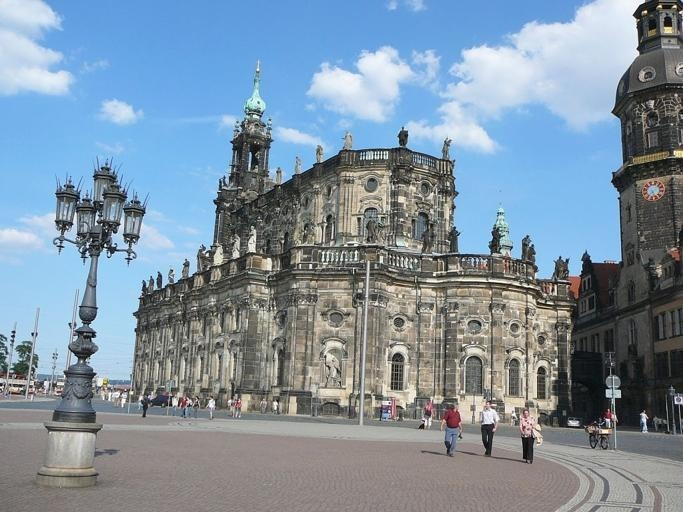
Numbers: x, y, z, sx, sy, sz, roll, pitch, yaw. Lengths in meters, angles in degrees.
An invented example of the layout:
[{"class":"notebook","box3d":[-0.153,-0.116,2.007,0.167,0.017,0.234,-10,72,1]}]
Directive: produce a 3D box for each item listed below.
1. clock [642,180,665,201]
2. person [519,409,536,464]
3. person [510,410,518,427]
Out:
[{"class":"clock","box3d":[32.412,-6.855,80.911,1.920,1.935,1.957,-4,-22,45]},{"class":"person","box3d":[7.420,7.178,30.916,0.567,2.080,1.430,-2,-14,13]},{"class":"person","box3d":[13.073,12.160,58.492,0.552,1.130,1.386,-2,-14,12]}]
